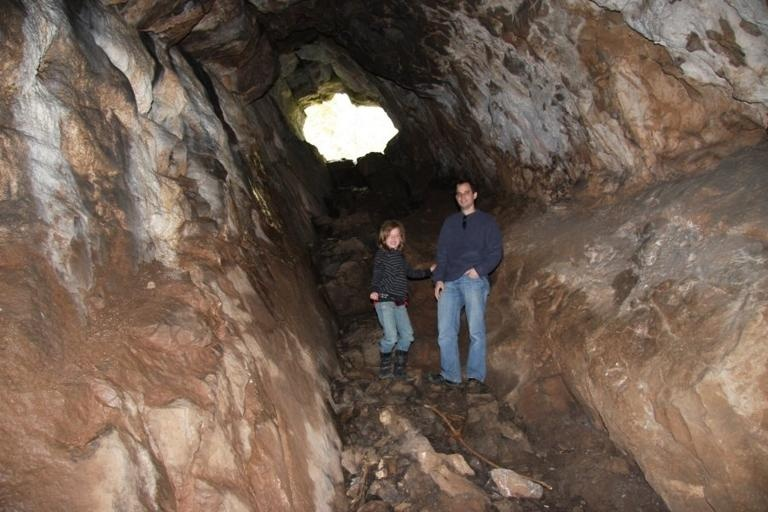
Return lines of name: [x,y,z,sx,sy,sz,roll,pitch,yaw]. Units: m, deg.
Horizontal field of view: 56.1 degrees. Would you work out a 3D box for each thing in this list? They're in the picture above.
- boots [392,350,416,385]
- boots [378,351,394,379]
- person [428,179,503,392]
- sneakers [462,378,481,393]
boots: [0.188,1.189,7.853,0.153,0.361,0.353,0,18,-18]
boots: [0.032,1.199,7.865,0.160,0.265,0.244,-5,-18,-2]
person: [0.867,0.330,7.620,0.488,1.993,0.868,4,-20,-28]
sneakers: [0.953,1.357,7.582,0.175,0.191,0.117,2,-21,5]
